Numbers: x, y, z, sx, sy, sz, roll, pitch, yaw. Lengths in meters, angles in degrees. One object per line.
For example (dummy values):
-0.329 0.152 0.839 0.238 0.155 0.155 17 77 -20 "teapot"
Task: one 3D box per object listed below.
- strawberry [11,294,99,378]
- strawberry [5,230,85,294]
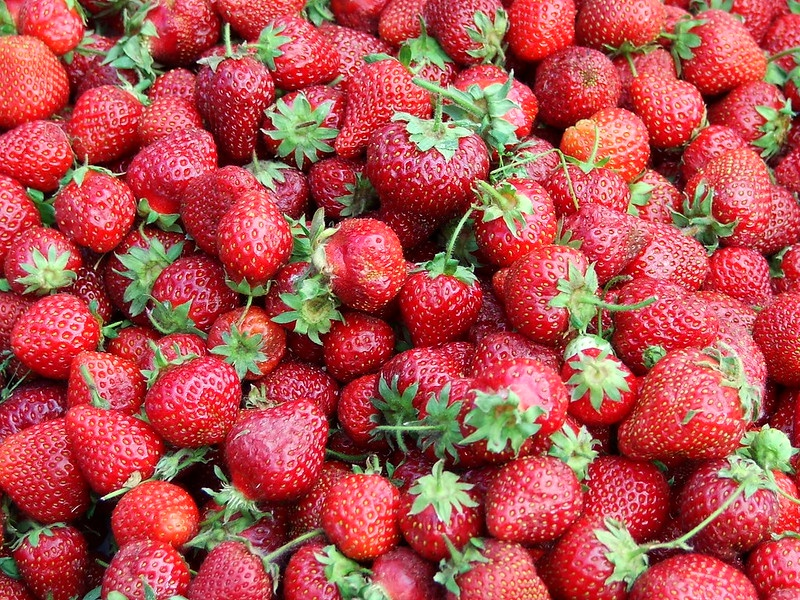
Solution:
-1.010 0.104 2.416 0.243 0.127 0.219 -44 87 -3 "strawberry"
-1.083 -0.114 2.478 0.201 0.128 0.204 6 86 0 "strawberry"
